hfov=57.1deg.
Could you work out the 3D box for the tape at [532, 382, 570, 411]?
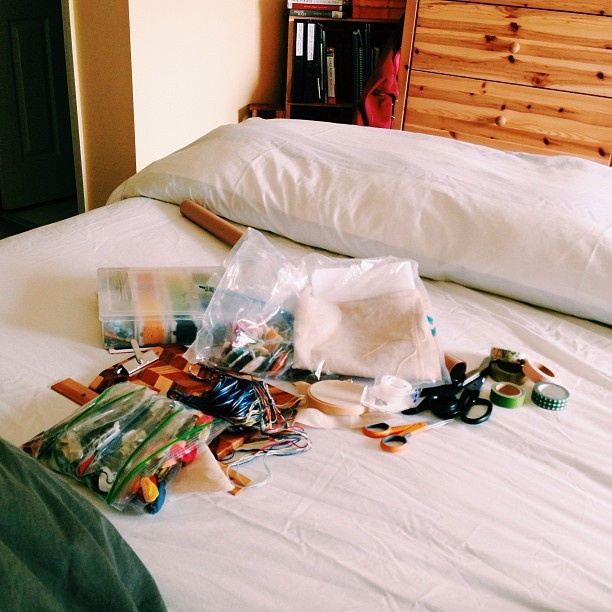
[{"bbox_3d":[0.383,0.142,0.884,0.049,0.015,0.042,-6,22,-17],"label":"tape"}]
